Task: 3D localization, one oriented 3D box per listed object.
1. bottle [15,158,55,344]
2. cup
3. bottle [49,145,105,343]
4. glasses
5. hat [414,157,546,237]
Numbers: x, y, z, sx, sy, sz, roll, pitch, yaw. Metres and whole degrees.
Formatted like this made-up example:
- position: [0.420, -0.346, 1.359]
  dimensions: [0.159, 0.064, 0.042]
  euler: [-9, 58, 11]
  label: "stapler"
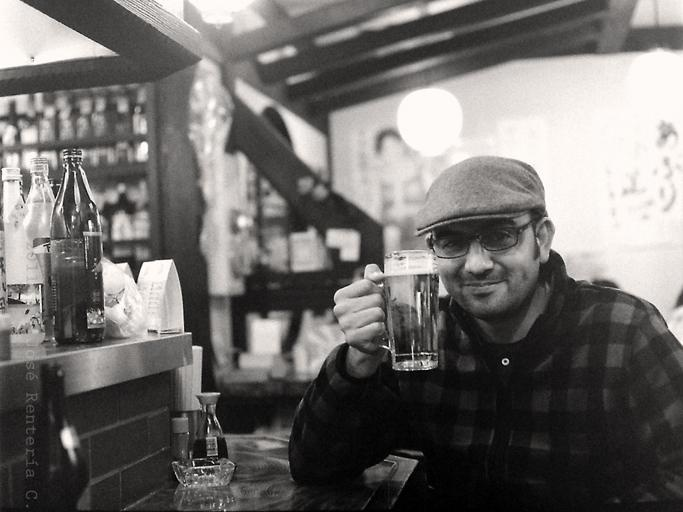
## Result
- position: [-0.816, -0.022, 1.923]
  dimensions: [0.098, 0.481, 0.182]
  euler: [-3, 8, -20]
  label: "bottle"
- position: [0.167, 0.127, 1.740]
  dimensions: [0.132, 0.282, 0.103]
  euler: [0, 8, 5]
  label: "cup"
- position: [-0.708, -0.027, 1.908]
  dimensions: [0.129, 0.513, 0.155]
  euler: [-3, 8, -18]
  label: "bottle"
- position: [0.412, -0.050, 2.015]
  dimensions: [0.304, 0.111, 0.090]
  euler: [0, 8, 2]
  label: "glasses"
- position: [0.383, -0.174, 1.989]
  dimensions: [0.227, 0.140, 0.303]
  euler: [-19, -18, 35]
  label: "hat"
